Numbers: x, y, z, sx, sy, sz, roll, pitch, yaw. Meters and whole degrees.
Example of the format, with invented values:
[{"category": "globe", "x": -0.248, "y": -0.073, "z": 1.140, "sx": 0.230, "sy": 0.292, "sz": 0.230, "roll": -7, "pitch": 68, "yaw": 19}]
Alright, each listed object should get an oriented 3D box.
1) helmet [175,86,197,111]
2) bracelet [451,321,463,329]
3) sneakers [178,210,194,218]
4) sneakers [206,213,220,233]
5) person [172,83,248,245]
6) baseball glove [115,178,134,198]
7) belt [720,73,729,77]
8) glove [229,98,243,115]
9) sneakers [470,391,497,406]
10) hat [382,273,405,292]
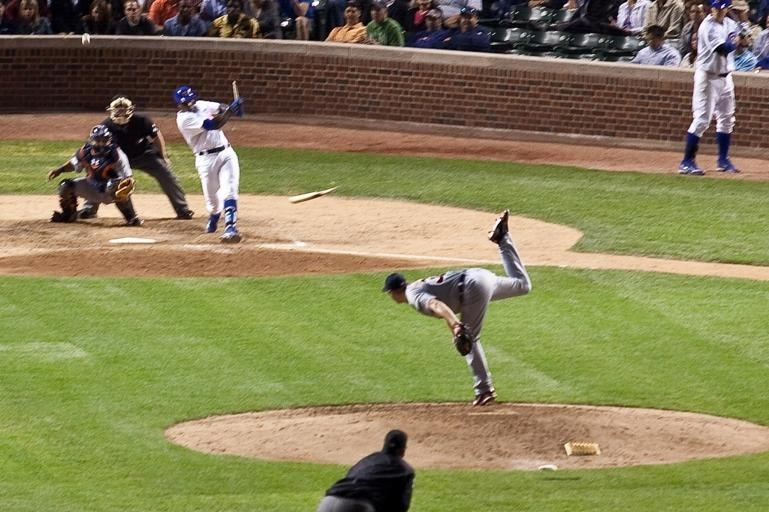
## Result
[{"category": "helmet", "x": -3.117, "y": -2.486, "z": 23.762, "sx": 0.321, "sy": 0.357, "sz": 0.370, "roll": -1, "pitch": 14, "yaw": -5}, {"category": "bracelet", "x": 0.896, "y": 0.867, "z": 18.417, "sx": 0.099, "sy": 0.026, "sz": 0.099, "roll": -34, "pitch": -2, "yaw": 9}, {"category": "sneakers", "x": -3.350, "y": -0.700, "z": 25.473, "sx": 0.330, "sy": 0.084, "sz": 0.127, "roll": 3, "pitch": -1, "yaw": -3}, {"category": "sneakers", "x": -2.756, "y": -0.522, "z": 24.387, "sx": 0.164, "sy": 0.362, "sz": 0.186, "roll": 27, "pitch": 26, "yaw": 8}, {"category": "person", "x": -2.754, "y": -1.470, "z": 23.929, "sx": 1.036, "sy": 2.418, "sz": 1.128, "roll": -1, "pitch": 16, "yaw": -5}, {"category": "baseball glove", "x": -4.196, "y": -1.068, "z": 24.278, "sx": 0.310, "sy": 0.412, "sz": 0.432, "roll": -2, "pitch": 14, "yaw": -9}, {"category": "belt", "x": 6.006, "y": -3.204, "z": 26.531, "sx": 0.190, "sy": 0.059, "sz": 0.054, "roll": -8, "pitch": 16, "yaw": -34}, {"category": "glove", "x": -2.329, "y": -2.334, "z": 23.444, "sx": 0.224, "sy": 0.236, "sz": 0.115, "roll": -20, "pitch": 26, "yaw": -29}, {"category": "sneakers", "x": 1.266, "y": 1.875, "z": 19.377, "sx": 0.149, "sy": 0.126, "sz": 0.367, "roll": -14, "pitch": 3, "yaw": -43}, {"category": "hat", "x": 0.135, "y": 0.362, "z": 18.879, "sx": 0.302, "sy": 0.269, "sz": 0.241, "roll": 0, "pitch": 14, "yaw": 0}]
